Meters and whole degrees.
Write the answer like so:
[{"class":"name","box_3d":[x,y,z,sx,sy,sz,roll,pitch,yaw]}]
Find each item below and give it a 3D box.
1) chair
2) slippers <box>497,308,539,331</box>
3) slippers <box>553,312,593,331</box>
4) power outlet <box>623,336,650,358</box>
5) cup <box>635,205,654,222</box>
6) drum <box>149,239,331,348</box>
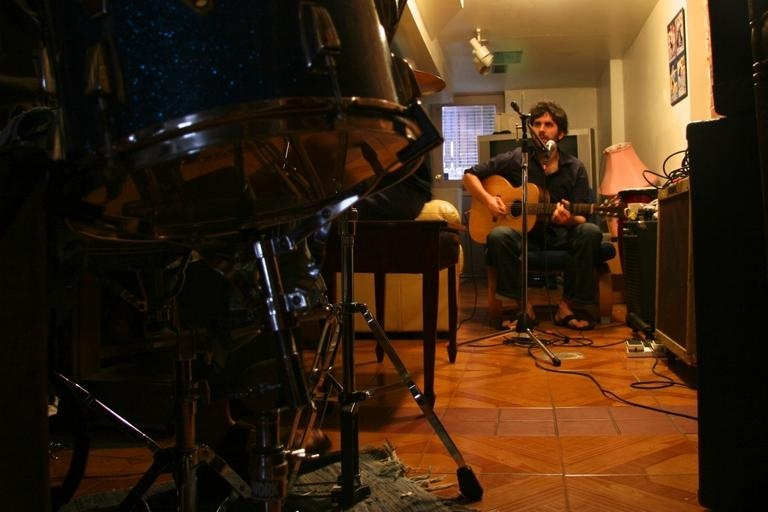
[{"class":"chair","box_3d":[1.016,0.059,4.118,0.662,0.881,0.810,0,-15,9]},{"class":"slippers","box_3d":[0.776,0.386,4.122,0.126,0.095,0.357,-2,-10,17]},{"class":"slippers","box_3d":[1.111,0.390,4.020,0.091,0.063,0.222,-3,-2,-24]},{"class":"power outlet","box_3d":[1.152,0.418,3.099,0.111,0.052,0.148,-3,6,5]},{"class":"cup","box_3d":[1.319,-0.221,3.449,0.066,0.094,0.074,-1,3,-34]},{"class":"drum","box_3d":[-0.255,0.053,1.360,0.239,0.134,0.315,-11,3,13]}]
